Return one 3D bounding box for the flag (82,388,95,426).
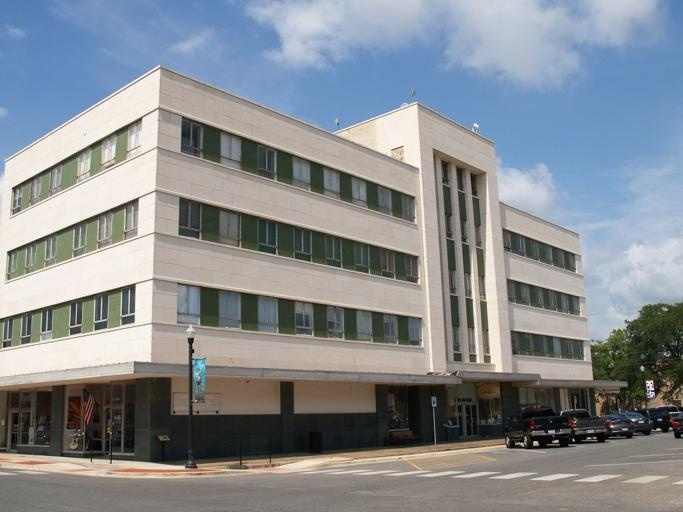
[{"bbox_3d":[-14.288,8.327,34.427,0.639,1.993,2.553,4,-21,-21],"label":"flag"}]

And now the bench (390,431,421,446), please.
[{"bbox_3d":[4.358,12.715,42.927,2.560,1.001,0.716,14,-26,-39],"label":"bench"}]
